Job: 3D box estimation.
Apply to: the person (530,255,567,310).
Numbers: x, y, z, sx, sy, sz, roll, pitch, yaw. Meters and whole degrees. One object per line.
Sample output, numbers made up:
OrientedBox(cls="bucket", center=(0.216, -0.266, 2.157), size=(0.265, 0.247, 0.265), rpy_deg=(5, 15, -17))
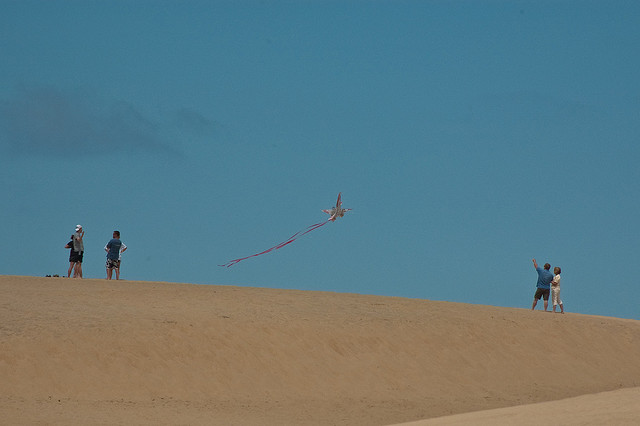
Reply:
OrientedBox(cls="person", center=(8.203, 2.407, 43.105), size=(1.215, 2.364, 0.595), rpy_deg=(1, 26, 13))
